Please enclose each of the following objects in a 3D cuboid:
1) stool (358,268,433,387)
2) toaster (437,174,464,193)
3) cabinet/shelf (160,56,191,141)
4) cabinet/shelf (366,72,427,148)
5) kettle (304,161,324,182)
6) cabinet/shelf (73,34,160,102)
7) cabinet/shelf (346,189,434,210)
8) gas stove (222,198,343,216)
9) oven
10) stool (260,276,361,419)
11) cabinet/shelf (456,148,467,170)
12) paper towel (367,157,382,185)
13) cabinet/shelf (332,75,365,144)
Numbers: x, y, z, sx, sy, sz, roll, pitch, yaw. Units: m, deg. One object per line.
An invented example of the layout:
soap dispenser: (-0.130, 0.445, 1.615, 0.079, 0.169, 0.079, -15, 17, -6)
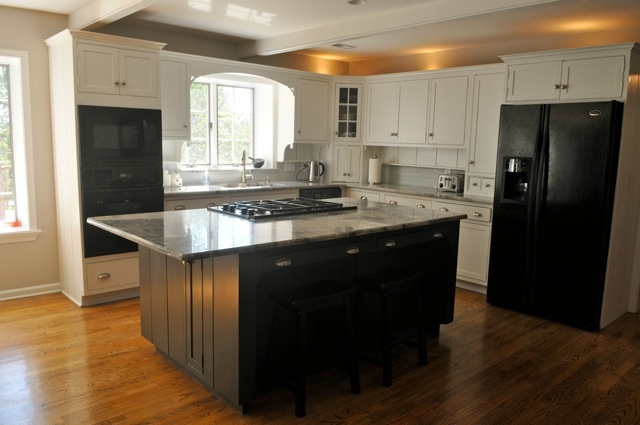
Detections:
stool: (0.674, 0.974, 3.987, 0.535, 0.835, 0.609, -28, -15, 13)
toaster: (1.725, -0.392, 6.082, 0.304, 0.187, 0.295, -3, 7, -37)
cabinet/shelf: (-1.772, -1.375, 5.559, 0.377, 0.951, 0.168, -7, 18, -34)
cabinet/shelf: (1.099, -1.453, 6.392, 1.219, 0.954, 0.468, 8, 11, 39)
kettle: (-0.052, -0.620, 6.935, 0.256, 0.297, 0.287, 3, 13, 1)
cabinet/shelf: (-2.098, -1.540, 4.943, 1.025, 0.615, 0.339, 10, 19, 12)
cabinet/shelf: (0.920, -0.208, 6.348, 1.397, 0.172, 0.097, 14, 17, 43)
gas stove: (-0.377, -0.058, 4.322, 1.135, 0.046, 0.639, -6, 15, -36)
oven: (-2.053, -0.306, 5.204, 1.004, 1.592, 0.650, 1, 5, 10)
stool: (-0.051, 1.027, 3.545, 0.664, 0.914, 0.471, -6, 17, -32)
cabinet/shelf: (1.897, -0.716, 6.110, 0.094, 0.264, 0.195, -2, 15, -20)
paper towel: (0.806, -0.621, 6.813, 0.209, 0.387, 0.267, 5, 14, 5)
cabinet/shelf: (0.433, -1.514, 6.799, 0.555, 0.942, 0.137, 12, 22, 33)
